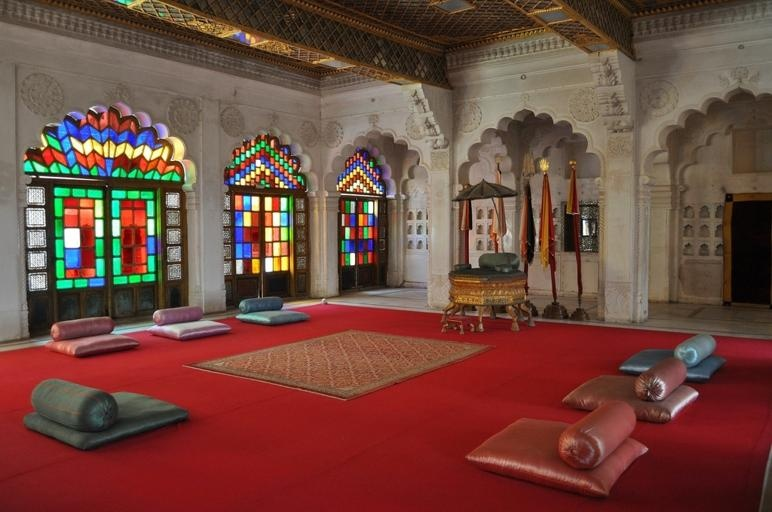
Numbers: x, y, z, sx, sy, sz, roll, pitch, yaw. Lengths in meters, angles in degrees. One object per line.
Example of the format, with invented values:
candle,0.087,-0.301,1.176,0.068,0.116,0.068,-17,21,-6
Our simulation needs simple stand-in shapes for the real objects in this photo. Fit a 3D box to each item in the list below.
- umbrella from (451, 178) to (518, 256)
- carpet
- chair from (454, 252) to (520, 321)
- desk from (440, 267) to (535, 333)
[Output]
umbrella,1.950,-0.702,10.748,1.588,1.609,1.490,-1,4,35
carpet,-0.552,1.512,7.933,2.663,0.101,3.562,8,11,44
chair,2.020,0.547,9.966,1.277,0.976,1.262,0,0,-41
desk,1.935,0.721,9.812,1.331,0.739,1.362,1,2,34
